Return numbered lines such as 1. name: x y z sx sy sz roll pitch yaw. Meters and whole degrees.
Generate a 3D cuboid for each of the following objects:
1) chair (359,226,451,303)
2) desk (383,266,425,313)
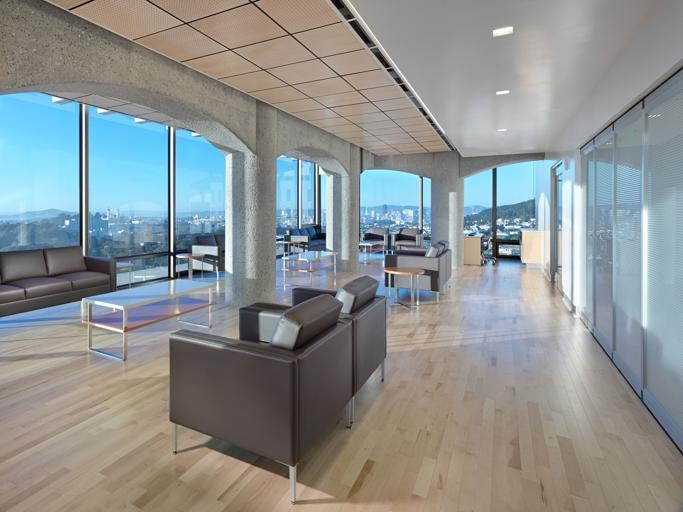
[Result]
1. chair: 1.334 0.264 8.325 0.997 1.180 1.609 1 0 21
2. desk: 1.134 0.518 8.023 0.733 0.676 1.355 2 8 11
